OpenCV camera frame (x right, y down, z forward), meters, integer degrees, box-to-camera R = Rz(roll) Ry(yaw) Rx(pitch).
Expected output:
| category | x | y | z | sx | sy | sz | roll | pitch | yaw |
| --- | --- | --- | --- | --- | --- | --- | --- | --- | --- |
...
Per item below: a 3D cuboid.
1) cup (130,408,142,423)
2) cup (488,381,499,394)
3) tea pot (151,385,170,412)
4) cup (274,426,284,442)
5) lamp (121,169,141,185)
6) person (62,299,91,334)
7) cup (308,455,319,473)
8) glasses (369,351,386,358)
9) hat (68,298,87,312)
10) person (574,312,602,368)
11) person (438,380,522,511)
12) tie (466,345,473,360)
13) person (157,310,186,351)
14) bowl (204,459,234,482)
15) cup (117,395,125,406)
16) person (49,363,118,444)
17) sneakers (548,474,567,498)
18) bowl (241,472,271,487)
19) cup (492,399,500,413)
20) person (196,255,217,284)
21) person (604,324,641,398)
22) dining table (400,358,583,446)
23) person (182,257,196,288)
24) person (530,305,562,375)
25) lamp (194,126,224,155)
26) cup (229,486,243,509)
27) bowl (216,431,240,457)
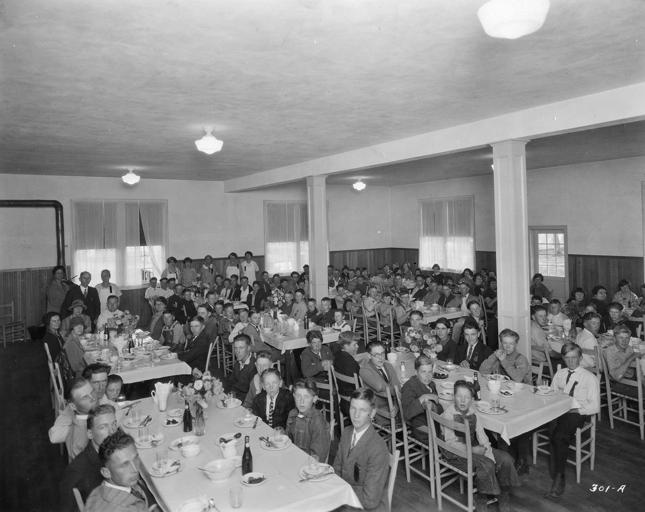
| category | x | y | z | sx | sy | sz | roll | pitch | yaw |
| --- | --- | --- | --- | --- | --- | --- | --- | --- | --- |
| cup | -2.054 | 1.753 | 5.655 | 0.085 | 0.106 | 0.090 | 0 | 2 | 0 |
| cup | 1.904 | 1.487 | 5.819 | 0.100 | 0.139 | 0.137 | 2 | -9 | -15 |
| tea pot | -1.900 | 1.609 | 5.912 | 0.294 | 0.325 | 0.209 | 6 | -12 | -10 |
| cup | -0.416 | 1.743 | 4.986 | 0.088 | 0.109 | 0.094 | 0 | -14 | 0 |
| lamp | -4.557 | -1.899 | 12.216 | 0.433 | 0.407 | 0.244 | 1 | -2 | -15 |
| person | -4.700 | 1.158 | 9.789 | 0.645 | 0.801 | 0.455 | -1 | 1 | -38 |
| cup | -0.083 | 1.816 | 4.523 | 0.078 | 0.136 | 0.081 | 0 | -21 | 0 |
| glasses | 0.678 | 1.213 | 6.275 | 0.185 | 0.084 | 0.111 | -3 | -1 | -5 |
| hat | -5.086 | 1.000 | 10.653 | 0.465 | 0.199 | 0.542 | 3 | -14 | -12 |
| person | 3.801 | 1.198 | 7.378 | 0.324 | 0.938 | 0.329 | -16 | -48 | 36 |
| person | 1.607 | 1.981 | 5.275 | 0.734 | 1.378 | 0.698 | -3 | 0 | 13 |
| tie | 2.039 | 1.346 | 7.137 | 0.048 | 0.228 | 0.060 | -18 | -52 | 40 |
| person | -2.608 | 1.314 | 8.726 | 0.485 | 0.740 | 0.540 | -1 | -2 | 10 |
| bowl | -0.908 | 1.861 | 4.479 | 0.282 | 0.163 | 0.217 | -3 | -1 | -5 |
| cup | -2.333 | 1.671 | 5.967 | 0.089 | 0.080 | 0.089 | 1 | -8 | 0 |
| person | -2.544 | 1.576 | 5.512 | 0.332 | 1.182 | 0.676 | 13 | 35 | 2 |
| sneakers | 2.564 | 2.515 | 5.609 | 0.104 | 0.161 | 0.361 | -15 | -8 | 32 |
| bowl | -0.575 | 1.901 | 4.389 | 0.216 | 0.059 | 0.168 | -3 | -1 | -13 |
| cup | 1.863 | 1.619 | 5.565 | 0.088 | 0.111 | 0.093 | -2 | -5 | 0 |
| person | -3.242 | 0.387 | 14.363 | 0.461 | 0.784 | 0.982 | -2 | -1 | -12 |
| person | 4.068 | 1.352 | 6.945 | 0.459 | 0.907 | 0.527 | -3 | -1 | 43 |
| dining table | 1.909 | 1.688 | 5.829 | 0.894 | 0.271 | 1.187 | 1 | -1 | -27 |
| person | -3.648 | 0.446 | 14.013 | 0.408 | 0.775 | 0.769 | -2 | -1 | -11 |
| person | 3.390 | 1.347 | 7.927 | 0.530 | 1.049 | 0.501 | -1 | 0 | -13 |
| lamp | -1.746 | -1.791 | 8.026 | 0.304 | 0.110 | 0.942 | 0 | 29 | -7 |
| cup | -0.689 | 1.927 | 4.109 | 0.099 | 0.167 | 0.108 | -3 | 0 | 0 |
| bowl | -0.878 | 1.775 | 4.872 | 0.152 | 0.114 | 0.149 | 1 | 1 | 0 |
